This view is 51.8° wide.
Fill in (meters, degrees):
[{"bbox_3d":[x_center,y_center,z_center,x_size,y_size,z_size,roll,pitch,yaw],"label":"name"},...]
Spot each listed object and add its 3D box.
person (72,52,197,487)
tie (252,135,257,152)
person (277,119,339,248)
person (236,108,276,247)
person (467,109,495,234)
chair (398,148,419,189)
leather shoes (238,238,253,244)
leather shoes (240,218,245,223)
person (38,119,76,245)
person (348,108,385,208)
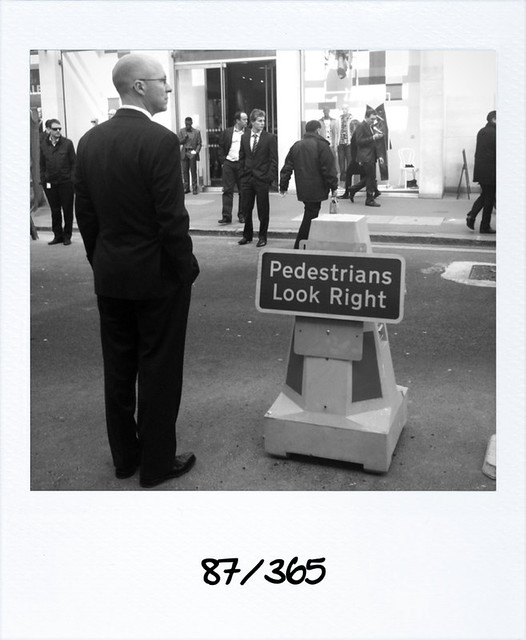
[{"bbox_3d":[-0.555,-0.161,2.437,0.563,1.968,0.372,2,8,23],"label":"person"},{"bbox_3d":[-0.123,-3.025,9.234,0.110,0.266,0.106,-1,8,-1],"label":"tie"},{"bbox_3d":[0.684,-2.073,8.169,0.969,1.833,0.692,2,9,23],"label":"person"},{"bbox_3d":[-0.089,-2.468,9.498,0.490,2.338,0.842,-6,10,-35],"label":"person"},{"bbox_3d":[3.880,-2.570,9.609,0.452,2.125,0.983,2,9,23],"label":"person"},{"bbox_3d":[3.399,-3.519,12.637,0.397,0.929,0.749,2,10,22],"label":"chair"},{"bbox_3d":[-0.309,-1.458,9.889,0.093,0.161,0.274,7,11,44],"label":"leather shoes"},{"bbox_3d":[-0.398,-1.939,10.507,0.064,0.099,0.146,0,-4,5],"label":"leather shoes"},{"bbox_3d":[-3.643,-2.457,9.804,0.720,2.207,0.560,3,9,26],"label":"person"},{"bbox_3d":[2.237,-3.515,11.708,0.601,2.129,0.813,5,10,39],"label":"person"}]
